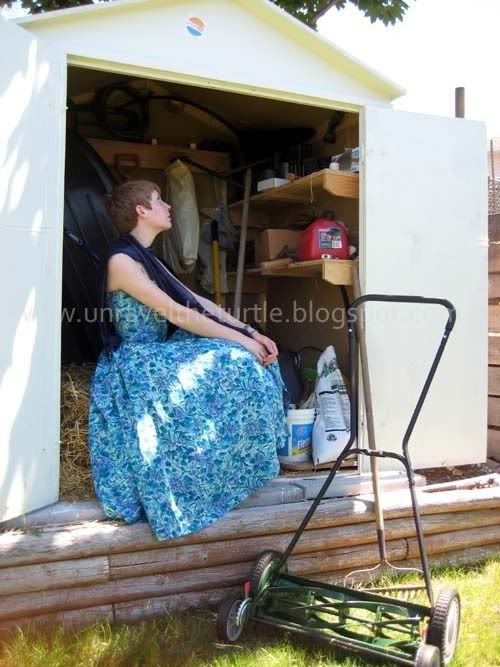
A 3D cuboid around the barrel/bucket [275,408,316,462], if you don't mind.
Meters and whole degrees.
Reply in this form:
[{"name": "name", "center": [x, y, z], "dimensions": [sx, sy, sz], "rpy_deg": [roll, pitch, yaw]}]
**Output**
[{"name": "barrel/bucket", "center": [0.239, 0.502, 2.959], "dimensions": [0.238, 0.318, 0.246], "rpy_deg": [0, -1, 0]}]
